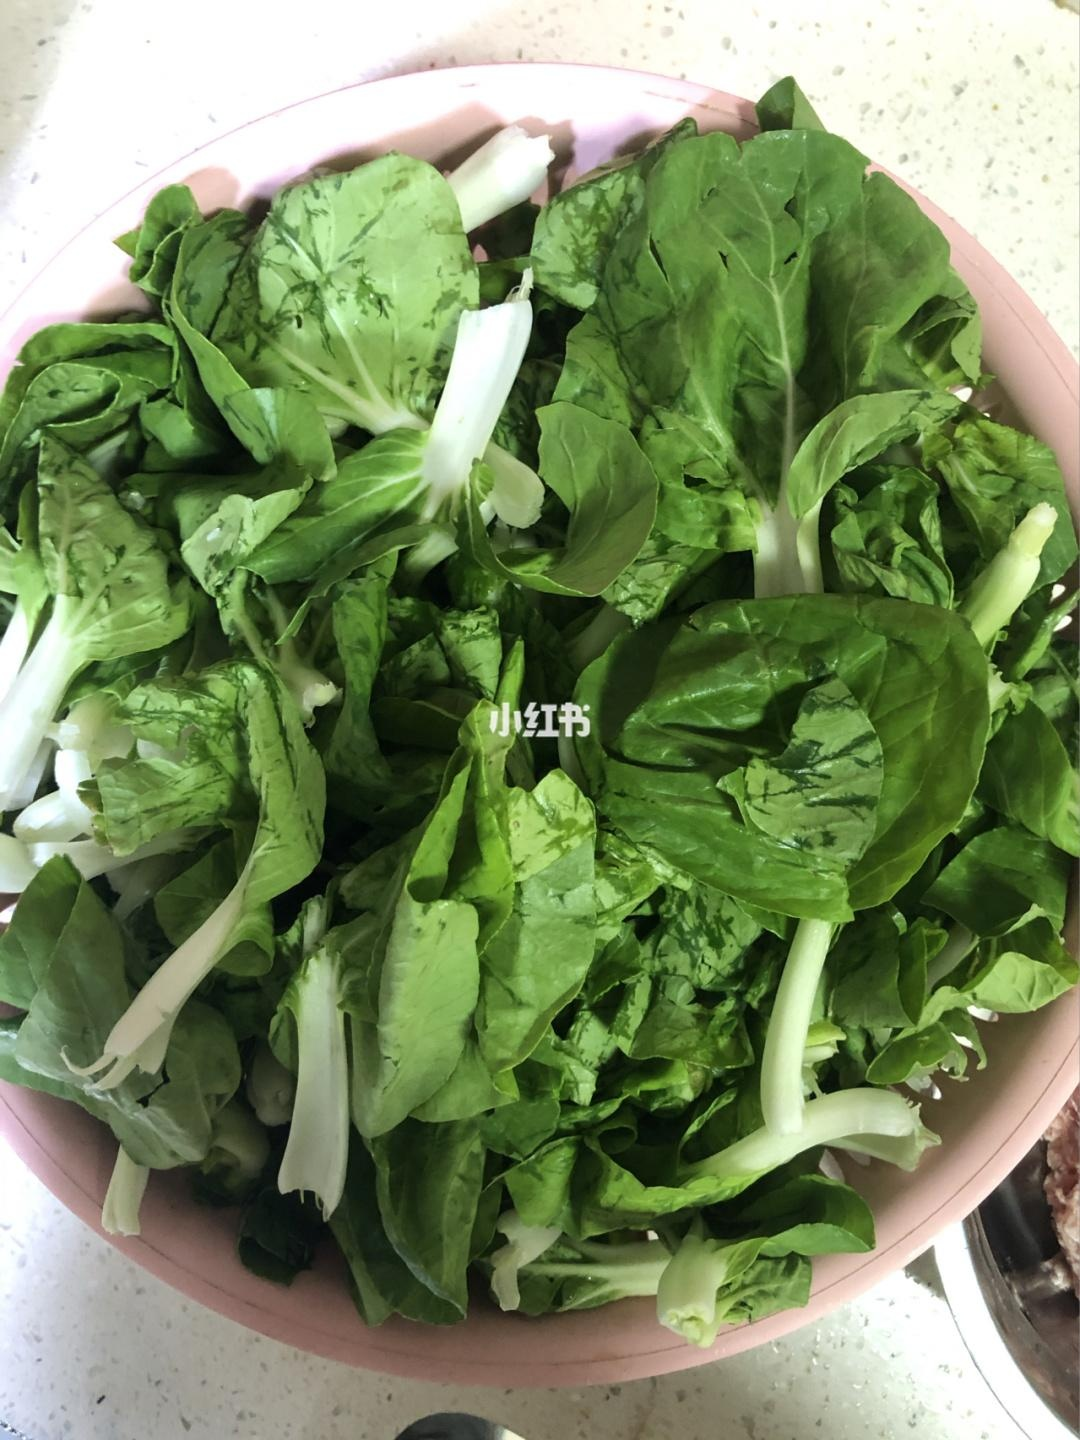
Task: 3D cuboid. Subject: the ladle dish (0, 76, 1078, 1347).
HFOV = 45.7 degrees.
[{"bbox_3d":[-0.005,-0.005,0.888,0.737,0.248,0.626,-1,89,0],"label":"ladle dish"}]
